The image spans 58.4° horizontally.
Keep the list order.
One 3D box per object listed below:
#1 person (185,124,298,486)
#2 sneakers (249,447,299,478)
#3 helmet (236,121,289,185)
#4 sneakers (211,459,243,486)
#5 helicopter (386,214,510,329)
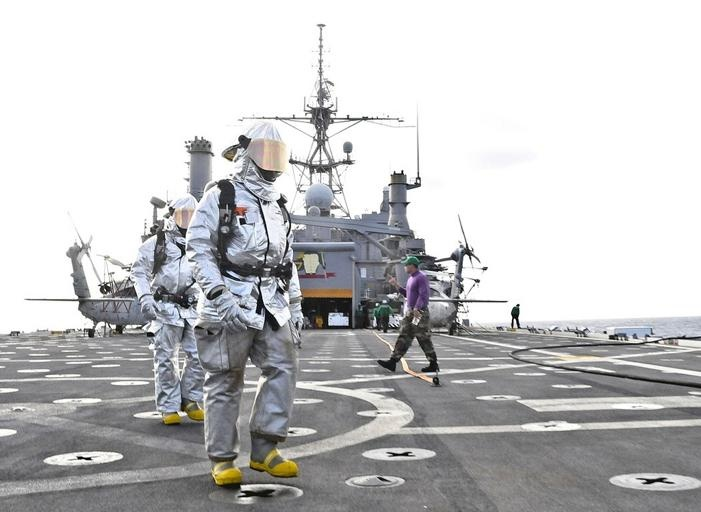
[{"bbox_3d":[-0.835,0.296,5.001,0.868,2.858,0.899,-3,2,-6],"label":"person"},{"bbox_3d":[-0.555,1.575,4.795,0.440,0.158,0.179,-3,-7,34],"label":"sneakers"},{"bbox_3d":[-0.781,-0.923,5.384,0.534,0.466,0.431,9,6,38],"label":"helmet"},{"bbox_3d":[-0.936,1.608,4.665,0.258,0.118,0.182,-1,2,7],"label":"sneakers"},{"bbox_3d":[5.729,1.726,41.557,5.657,3.704,8.264,9,-10,-8],"label":"helicopter"}]
